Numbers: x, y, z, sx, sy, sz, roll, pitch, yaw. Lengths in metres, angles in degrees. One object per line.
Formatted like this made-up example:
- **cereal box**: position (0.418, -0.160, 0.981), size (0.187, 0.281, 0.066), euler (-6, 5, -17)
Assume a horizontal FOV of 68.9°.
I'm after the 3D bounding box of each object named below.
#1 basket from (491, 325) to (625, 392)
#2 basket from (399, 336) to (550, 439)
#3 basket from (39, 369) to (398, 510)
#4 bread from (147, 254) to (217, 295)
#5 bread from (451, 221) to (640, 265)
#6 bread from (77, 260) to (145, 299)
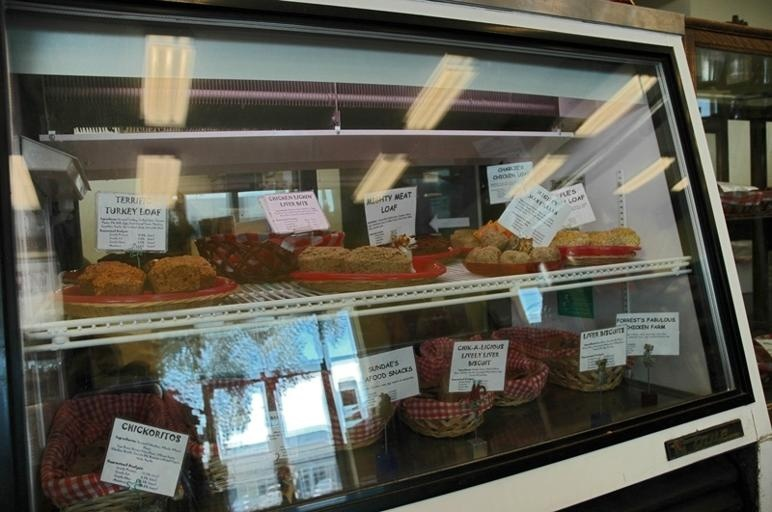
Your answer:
- **basket**: position (0.597, 0.355, 2.135), size (0.313, 0.095, 0.173), euler (10, 35, 33)
- **basket**: position (0.329, 0.466, 1.996), size (0.470, 0.121, 0.315), euler (-8, 19, -31)
- **basket**: position (-0.699, 0.512, 1.671), size (0.552, 0.158, 0.365), euler (0, 7, -22)
- **bread**: position (-0.648, 0.060, 1.771), size (0.233, 0.092, 0.204), euler (-4, 0, -21)
- **bread**: position (0.651, -0.044, 2.096), size (0.505, 0.074, 0.271), euler (2, -1, -7)
- **bread**: position (-0.808, 0.066, 1.642), size (0.147, 0.042, 0.115), euler (0, 9, -42)
